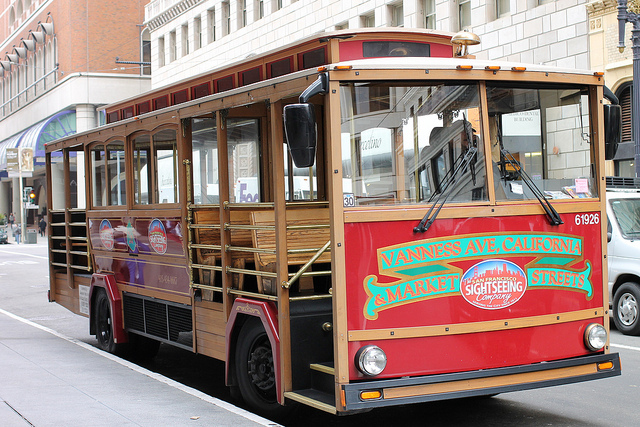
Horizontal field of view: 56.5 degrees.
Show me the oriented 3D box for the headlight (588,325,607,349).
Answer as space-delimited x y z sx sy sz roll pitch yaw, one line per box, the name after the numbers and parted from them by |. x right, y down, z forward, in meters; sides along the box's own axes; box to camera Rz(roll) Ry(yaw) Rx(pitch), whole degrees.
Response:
3.107 1.388 6.674 0.055 0.249 0.239 2 -12 39 | headlight

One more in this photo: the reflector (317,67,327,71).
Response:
0.023 -1.441 5.943 0.056 0.034 0.082 -3 -2 -2 | reflector

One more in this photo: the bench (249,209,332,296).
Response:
-0.131 0.525 7.456 0.627 1.070 1.460 3 3 42 | bench

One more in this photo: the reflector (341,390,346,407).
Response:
0.228 1.797 5.771 0.050 0.156 0.014 2 -4 13 | reflector

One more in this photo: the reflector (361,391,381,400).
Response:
0.499 1.780 5.820 0.199 0.072 0.018 4 -4 -17 | reflector

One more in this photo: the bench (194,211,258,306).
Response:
-1.178 0.604 7.662 1.141 0.871 0.444 0 -4 -38 | bench

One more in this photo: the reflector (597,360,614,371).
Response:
3.153 1.694 6.601 0.150 0.110 0.041 -16 3 -13 | reflector

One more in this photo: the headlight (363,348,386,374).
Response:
0.523 1.458 5.863 0.203 0.219 0.119 8 2 -38 | headlight
